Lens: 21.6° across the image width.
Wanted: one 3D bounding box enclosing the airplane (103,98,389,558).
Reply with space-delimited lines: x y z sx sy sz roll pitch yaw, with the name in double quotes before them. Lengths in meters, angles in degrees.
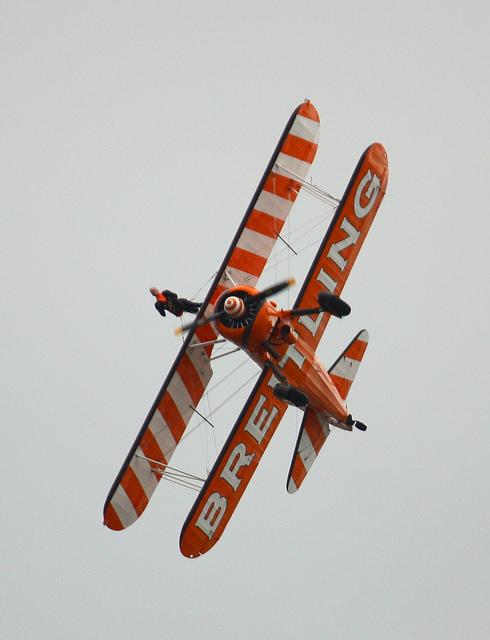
"airplane" -0.421 0.645 15.497 1.461 3.520 5.215 36 -58 17
